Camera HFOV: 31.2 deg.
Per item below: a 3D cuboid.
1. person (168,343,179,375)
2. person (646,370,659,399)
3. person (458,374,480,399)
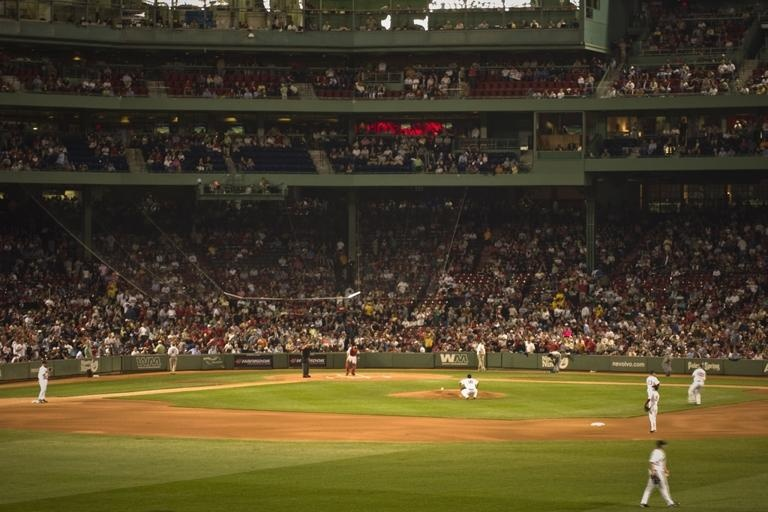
[{"bbox_3d":[-13.992,6.678,91.273,0.615,2.021,1.258,-4,8,-9],"label":"person"},{"bbox_3d":[14.944,7.145,76.474,0.445,0.817,1.533,-2,13,14],"label":"person"},{"bbox_3d":[5.045,7.575,81.056,0.951,1.316,1.708,-2,8,6],"label":"person"}]
